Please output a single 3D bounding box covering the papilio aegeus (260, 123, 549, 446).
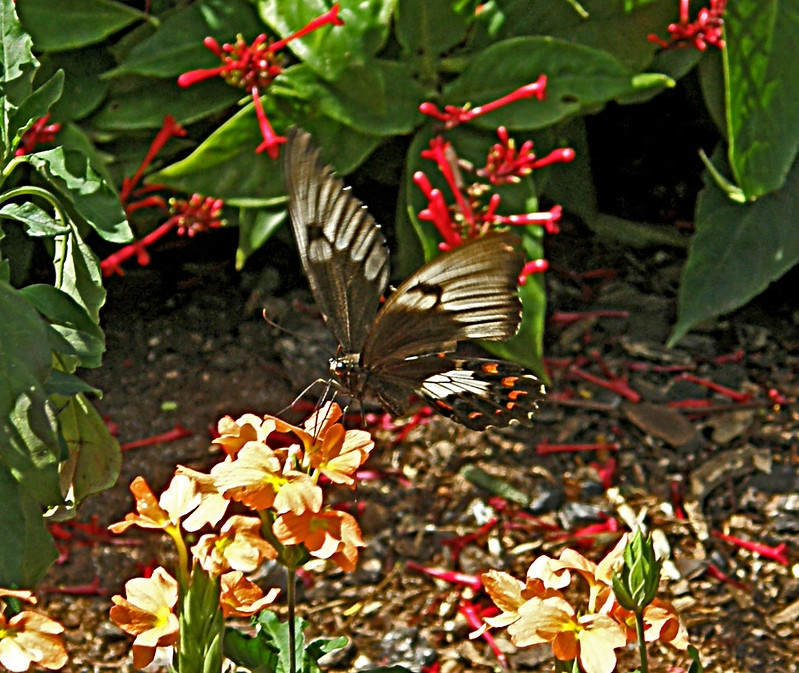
[{"bbox_3d":[-0.022,-0.086,1.771,0.372,0.400,0.384,-3,13,-21],"label":"papilio aegeus"}]
